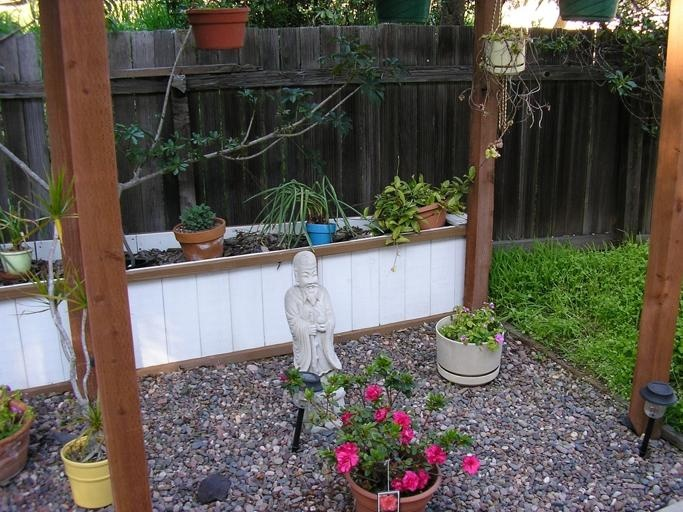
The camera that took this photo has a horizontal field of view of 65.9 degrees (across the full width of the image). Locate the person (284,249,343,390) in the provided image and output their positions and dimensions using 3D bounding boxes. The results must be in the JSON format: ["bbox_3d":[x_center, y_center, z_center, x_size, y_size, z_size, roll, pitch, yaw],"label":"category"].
[{"bbox_3d":[-0.180,0.433,3.397,0.290,0.951,0.274,-13,26,-19],"label":"person"}]

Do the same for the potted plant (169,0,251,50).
[{"bbox_3d":[-0.967,-1.763,3.932,0.370,0.226,0.374,-9,16,-35],"label":"potted plant"}]

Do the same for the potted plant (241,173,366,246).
[{"bbox_3d":[-0.379,-0.387,4.432,0.689,0.395,0.723,-4,17,-18],"label":"potted plant"}]

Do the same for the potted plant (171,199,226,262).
[{"bbox_3d":[-1.129,-0.214,4.190,0.397,0.491,0.390,-4,11,-22],"label":"potted plant"}]

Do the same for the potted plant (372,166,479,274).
[{"bbox_3d":[0.667,-0.329,4.531,0.803,0.695,0.461,-9,19,-21],"label":"potted plant"}]

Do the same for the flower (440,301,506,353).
[{"bbox_3d":[0.967,0.474,3.919,0.278,0.253,0.344,-6,0,-23],"label":"flower"}]

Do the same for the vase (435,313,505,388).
[{"bbox_3d":[0.903,0.688,3.799,0.378,0.335,0.386,5,14,14],"label":"vase"}]
